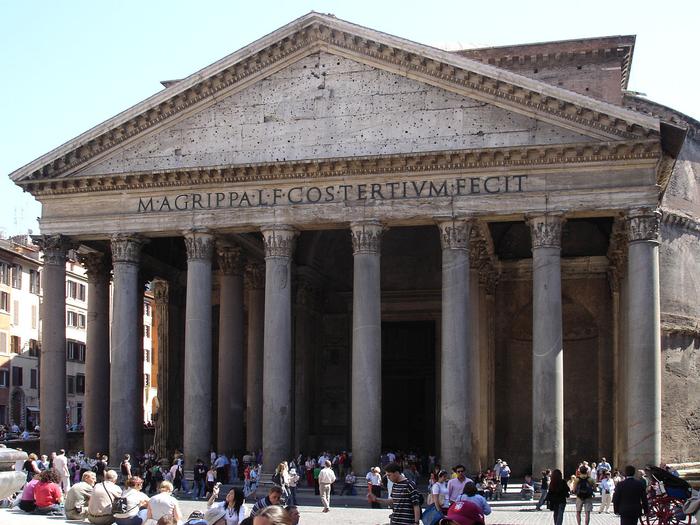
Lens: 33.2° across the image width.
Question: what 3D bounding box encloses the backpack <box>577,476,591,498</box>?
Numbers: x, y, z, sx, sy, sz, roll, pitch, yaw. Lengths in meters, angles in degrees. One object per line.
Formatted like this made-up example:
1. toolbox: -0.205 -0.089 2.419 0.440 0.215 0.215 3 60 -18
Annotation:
1. backpack: 6.977 6.729 34.972 0.588 0.658 0.355 -2 -25 10

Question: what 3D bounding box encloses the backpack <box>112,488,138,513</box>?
1. backpack: -6.164 6.614 32.040 0.573 0.552 0.274 -4 -13 19
